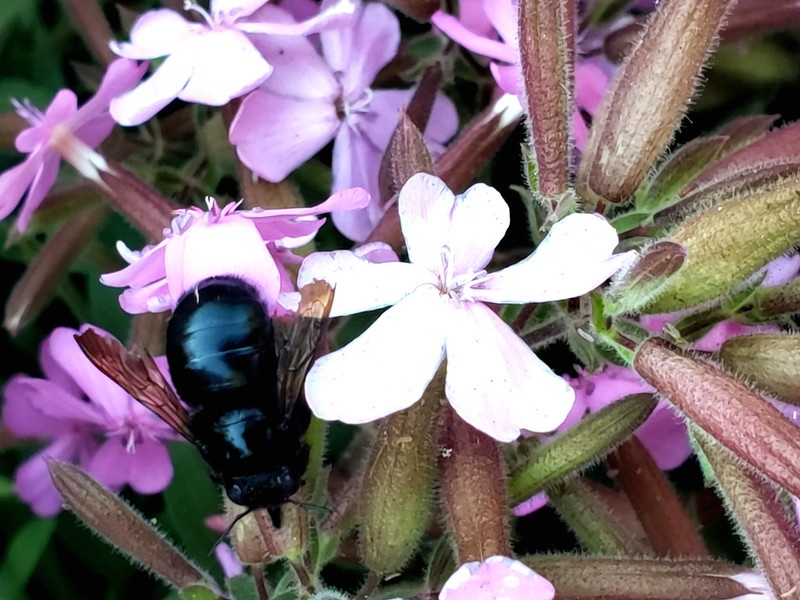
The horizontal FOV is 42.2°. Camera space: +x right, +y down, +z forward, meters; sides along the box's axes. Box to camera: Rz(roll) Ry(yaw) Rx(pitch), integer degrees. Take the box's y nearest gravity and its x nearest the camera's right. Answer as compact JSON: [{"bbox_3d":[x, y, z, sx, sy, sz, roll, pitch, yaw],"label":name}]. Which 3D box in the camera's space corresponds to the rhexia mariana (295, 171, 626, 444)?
[{"bbox_3d":[0.062,-0.002,1.034,0.334,0.097,0.263,1,64,9],"label":"rhexia mariana"}]

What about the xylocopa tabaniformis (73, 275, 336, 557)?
[{"bbox_3d":[-0.185,0.063,1.042,0.225,0.101,0.312,-19,94,-3],"label":"xylocopa tabaniformis"}]
